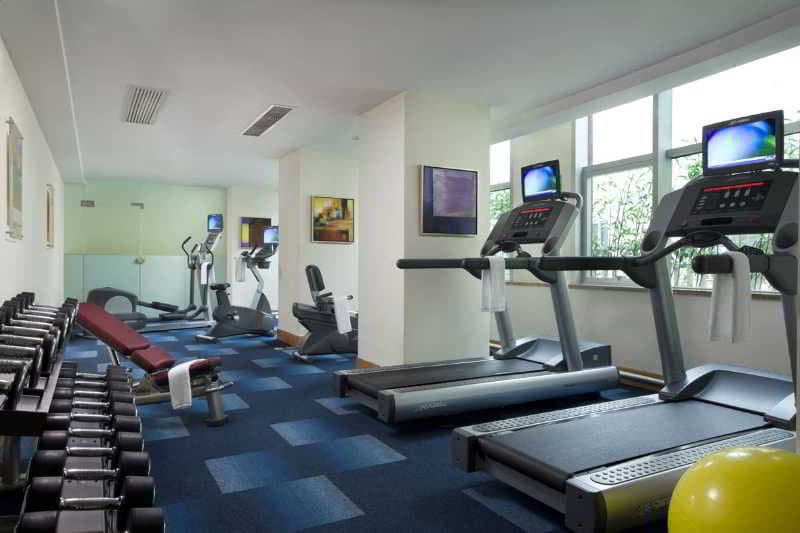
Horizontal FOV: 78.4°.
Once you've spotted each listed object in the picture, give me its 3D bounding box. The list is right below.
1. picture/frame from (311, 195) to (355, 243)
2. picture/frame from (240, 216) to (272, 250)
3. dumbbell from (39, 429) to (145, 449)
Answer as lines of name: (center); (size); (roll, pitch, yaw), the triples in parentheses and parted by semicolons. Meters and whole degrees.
picture/frame: (-1.030, -0.718, 7.532); (0.779, 0.718, 0.035); (-2, 7, -41)
picture/frame: (-2.943, -0.655, 9.874); (0.859, 0.795, 0.062); (1, -2, -23)
dumbbell: (-1.394, 0.783, 2.214); (0.452, 0.116, 0.122); (6, 3, -19)
